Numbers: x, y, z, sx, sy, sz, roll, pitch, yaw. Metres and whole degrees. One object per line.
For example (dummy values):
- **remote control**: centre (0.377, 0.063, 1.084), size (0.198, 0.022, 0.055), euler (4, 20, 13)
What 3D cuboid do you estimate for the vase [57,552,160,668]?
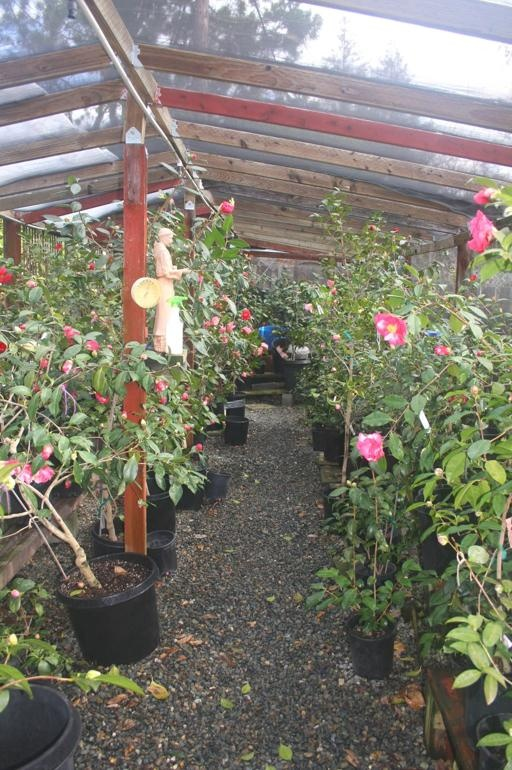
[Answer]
- **vase**: centre (-0.489, 0.797, 2.022), size (0.358, 0.267, 0.352), euler (-10, 6, -4)
